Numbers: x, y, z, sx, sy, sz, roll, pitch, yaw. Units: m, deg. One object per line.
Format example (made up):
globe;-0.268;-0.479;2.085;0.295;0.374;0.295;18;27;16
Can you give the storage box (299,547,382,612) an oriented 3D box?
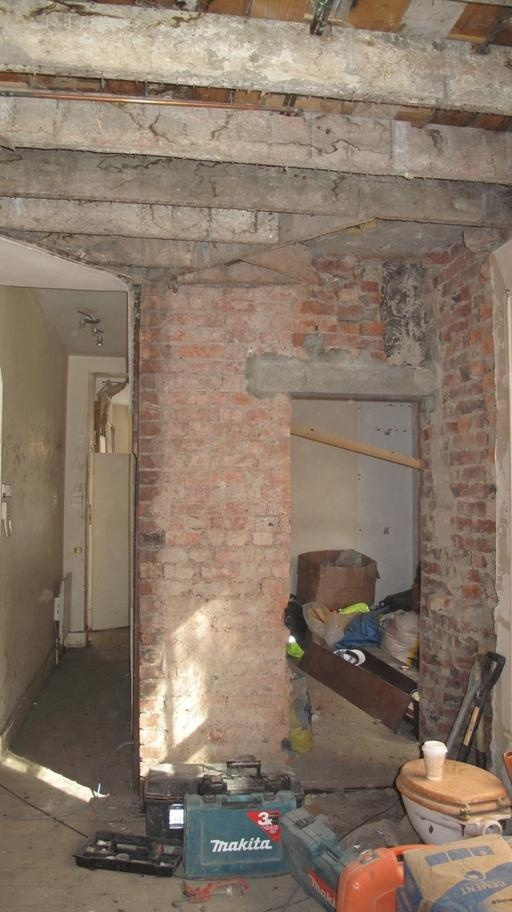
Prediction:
storage box;0.615;0.907;6.014;0.663;0.301;0.682;-2;14;25
